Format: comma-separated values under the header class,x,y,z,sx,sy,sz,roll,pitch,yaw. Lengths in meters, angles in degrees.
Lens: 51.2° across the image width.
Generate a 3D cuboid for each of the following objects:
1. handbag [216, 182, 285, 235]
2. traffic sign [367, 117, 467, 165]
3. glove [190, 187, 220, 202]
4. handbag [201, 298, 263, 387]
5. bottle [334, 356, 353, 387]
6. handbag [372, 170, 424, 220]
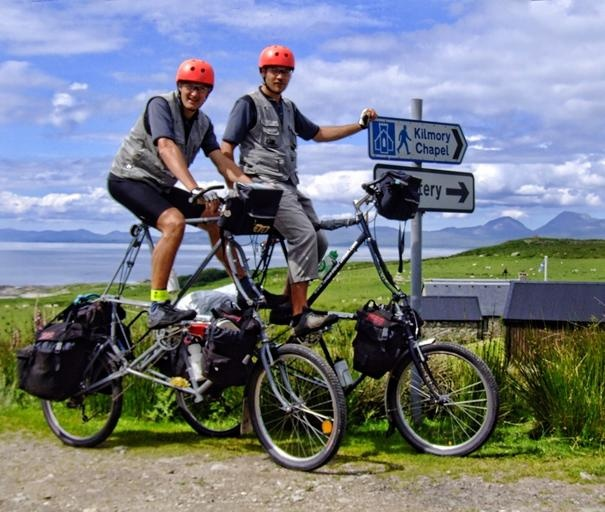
class,x,y,z,sx,sy,sz,roll,pitch,yaw
handbag,-0.460,-0.450,5.765,0.432,0.546,0.604,33,29,35
traffic sign,1.202,-1.288,7.031,1.576,0.635,0.035,1,-7,-27
glove,-0.897,-0.561,5.774,0.247,0.126,0.398,0,2,-5
handbag,-0.639,0.800,5.634,0.524,0.720,0.242,1,1,2
bottle,0.372,1.093,5.854,0.168,0.274,0.192,0,2,-11
handbag,0.912,-0.571,6.018,0.554,0.551,0.416,5,6,32
